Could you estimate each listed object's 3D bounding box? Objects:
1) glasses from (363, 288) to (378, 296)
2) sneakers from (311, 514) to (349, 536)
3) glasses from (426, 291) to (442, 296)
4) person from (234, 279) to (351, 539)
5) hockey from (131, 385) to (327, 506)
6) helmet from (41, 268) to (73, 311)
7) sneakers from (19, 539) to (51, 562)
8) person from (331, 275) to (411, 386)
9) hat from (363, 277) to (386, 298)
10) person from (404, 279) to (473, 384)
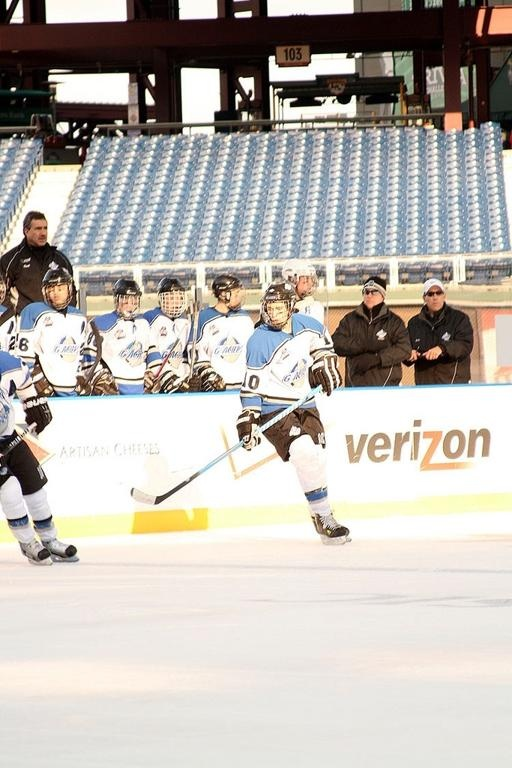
[{"bbox_3d":[0.760,-0.618,6.208,0.115,0.054,0.038,7,17,41],"label":"glasses"},{"bbox_3d":[0.401,0.787,5.097,0.085,0.096,0.226,-20,22,-33],"label":"sneakers"},{"bbox_3d":[1.218,-0.618,6.336,0.091,0.038,0.032,-3,13,8],"label":"glasses"},{"bbox_3d":[0.221,0.146,5.214,0.643,1.382,0.587,1,14,23],"label":"person"},{"bbox_3d":[-0.180,0.386,5.486,1.435,0.199,0.076,-29,-7,10],"label":"hockey"},{"bbox_3d":[-1.221,-0.579,5.697,0.197,0.263,0.156,-10,14,-23],"label":"helmet"},{"bbox_3d":[-1.121,0.824,4.653,0.075,0.090,0.205,-47,37,-14],"label":"sneakers"},{"bbox_3d":[0.776,-0.150,6.416,0.544,1.115,0.369,4,20,12],"label":"person"},{"bbox_3d":[0.806,-0.663,6.296,0.128,0.136,0.174,5,-19,11],"label":"hat"},{"bbox_3d":[1.269,-0.351,6.387,0.429,0.711,0.277,-3,13,9],"label":"person"}]
